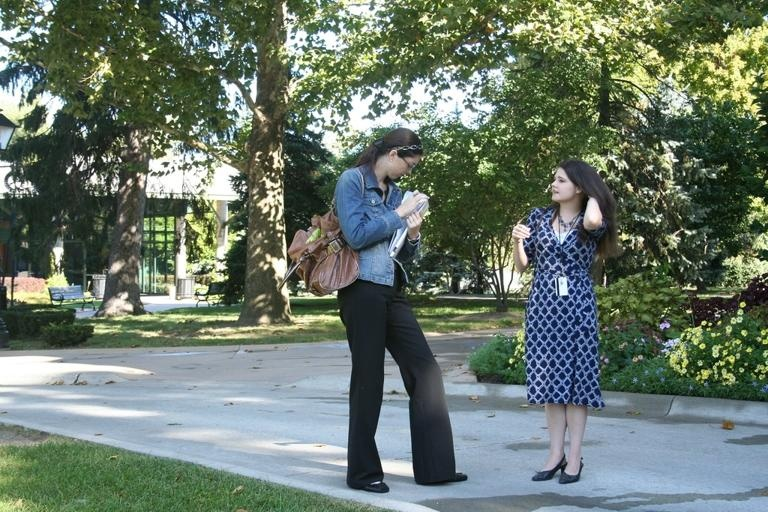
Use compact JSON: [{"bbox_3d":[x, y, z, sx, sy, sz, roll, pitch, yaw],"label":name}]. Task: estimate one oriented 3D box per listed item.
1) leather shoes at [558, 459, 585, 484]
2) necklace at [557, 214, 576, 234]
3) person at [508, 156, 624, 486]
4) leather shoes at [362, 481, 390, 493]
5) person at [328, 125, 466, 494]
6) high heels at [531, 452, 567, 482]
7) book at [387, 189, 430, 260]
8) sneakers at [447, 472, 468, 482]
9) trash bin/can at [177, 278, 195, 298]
[{"bbox_3d":[1.831,2.161,7.667,0.122,0.137,0.334,-4,-6,26],"label":"leather shoes"},{"bbox_3d":[1.840,-0.312,7.844,0.186,0.184,0.021,7,6,20],"label":"necklace"},{"bbox_3d":[1.799,0.624,7.841,1.007,3.190,0.642,1,2,12],"label":"person"},{"bbox_3d":[-0.085,2.177,7.382,0.192,0.072,0.112,3,-5,18],"label":"leather shoes"},{"bbox_3d":[0.070,0.501,7.561,1.125,3.475,0.537,1,2,-4],"label":"person"},{"bbox_3d":[1.649,2.124,7.797,0.463,0.192,0.155,-6,-4,-32],"label":"high heels"},{"bbox_3d":[0.241,-0.270,7.742,0.371,0.661,0.180,29,-1,36],"label":"book"},{"bbox_3d":[0.722,2.181,7.661,0.221,0.085,0.074,-6,6,-33],"label":"sneakers"},{"bbox_3d":[-10.198,1.715,39.902,0.988,1.026,0.980,0,0,-36],"label":"trash bin/can"}]
